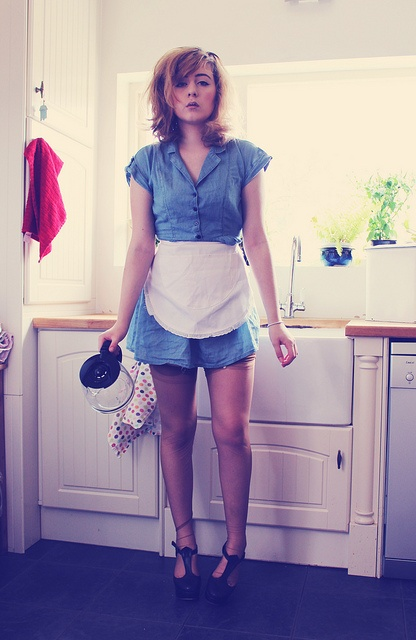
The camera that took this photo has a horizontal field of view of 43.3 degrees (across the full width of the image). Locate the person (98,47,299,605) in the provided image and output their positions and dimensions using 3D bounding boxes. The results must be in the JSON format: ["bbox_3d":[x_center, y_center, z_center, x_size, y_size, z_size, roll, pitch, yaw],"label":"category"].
[{"bbox_3d":[-0.024,0.046,1.340,0.486,1.324,0.215,1,7,15],"label":"person"}]

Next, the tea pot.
[{"bbox_3d":[-0.259,0.164,1.317,0.106,0.217,0.140,-4,-30,8],"label":"tea pot"}]

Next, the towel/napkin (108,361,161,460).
[{"bbox_3d":[-0.209,0.271,1.603,0.092,0.286,0.182,3,4,-32],"label":"towel/napkin"}]

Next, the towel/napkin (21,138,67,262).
[{"bbox_3d":[-0.560,-0.380,1.773,0.094,0.395,0.223,-1,7,0],"label":"towel/napkin"}]

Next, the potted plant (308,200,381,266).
[{"bbox_3d":[0.538,-0.344,2.226,0.217,0.311,0.286,8,-2,-17],"label":"potted plant"}]

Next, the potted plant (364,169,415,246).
[{"bbox_3d":[0.739,-0.432,2.115,0.208,0.272,0.335,1,9,16],"label":"potted plant"}]

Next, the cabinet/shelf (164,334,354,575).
[{"bbox_3d":[0.208,0.299,1.780,0.556,0.823,0.479,1,20,4],"label":"cabinet/shelf"}]

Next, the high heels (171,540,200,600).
[{"bbox_3d":[-0.067,0.651,1.375,0.042,0.082,0.144,0,-3,-1],"label":"high heels"}]
